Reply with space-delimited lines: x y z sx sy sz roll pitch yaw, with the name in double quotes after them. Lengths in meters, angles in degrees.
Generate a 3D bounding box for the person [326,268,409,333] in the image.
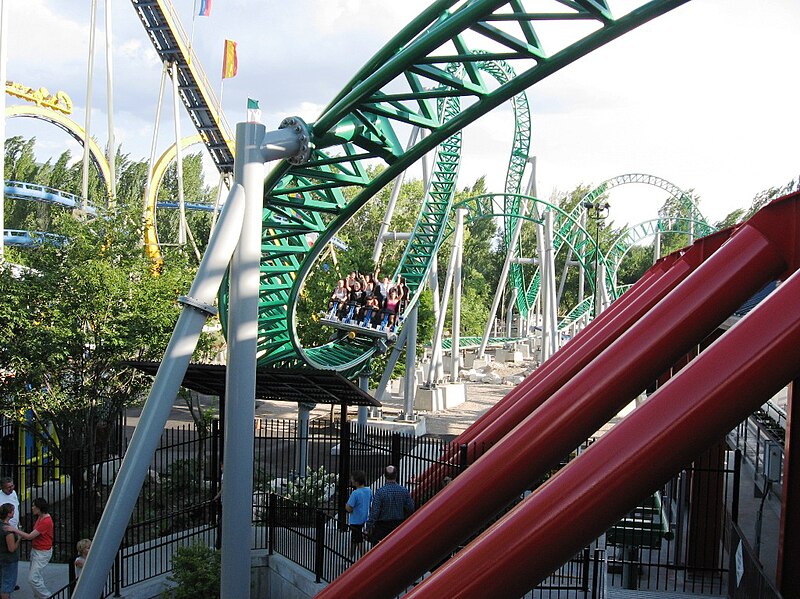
-0.666 0.076 23.292 1.159 0.706 2.034 3 -8 20 "person"

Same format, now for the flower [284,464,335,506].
-1.553 3.306 15.967 0.677 0.378 0.733 -11 2 5 "flower"

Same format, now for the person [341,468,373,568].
-0.602 3.055 12.821 0.325 1.216 0.535 5 -8 -2 "person"

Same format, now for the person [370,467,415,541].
-0.159 3.008 12.428 0.594 1.757 0.448 0 22 -6 "person"
